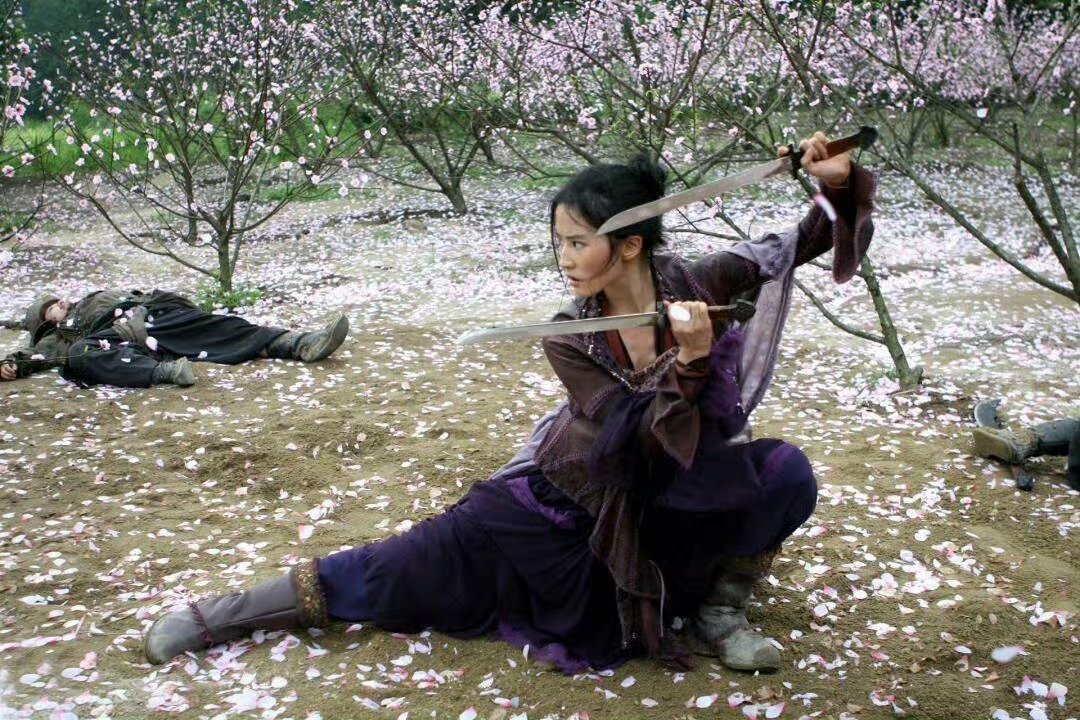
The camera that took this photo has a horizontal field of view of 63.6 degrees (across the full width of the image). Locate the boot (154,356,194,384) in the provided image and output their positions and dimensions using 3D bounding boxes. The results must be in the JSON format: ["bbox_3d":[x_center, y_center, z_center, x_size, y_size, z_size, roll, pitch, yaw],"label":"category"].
[{"bbox_3d":[-2.862,0.079,6.820,0.299,0.144,0.167,6,39,-19],"label":"boot"}]

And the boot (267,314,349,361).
[{"bbox_3d":[-2.183,-0.208,7.511,1.050,0.399,0.367,6,11,20],"label":"boot"}]

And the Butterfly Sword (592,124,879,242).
[{"bbox_3d":[0.816,-0.756,3.759,1.231,0.060,0.156,-18,13,25],"label":"Butterfly Sword"}]

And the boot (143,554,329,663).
[{"bbox_3d":[-1.464,1.258,4.210,0.720,0.279,0.396,-13,19,-13],"label":"boot"}]

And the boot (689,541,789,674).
[{"bbox_3d":[0.886,1.187,4.258,0.557,0.480,0.520,1,0,5],"label":"boot"}]
